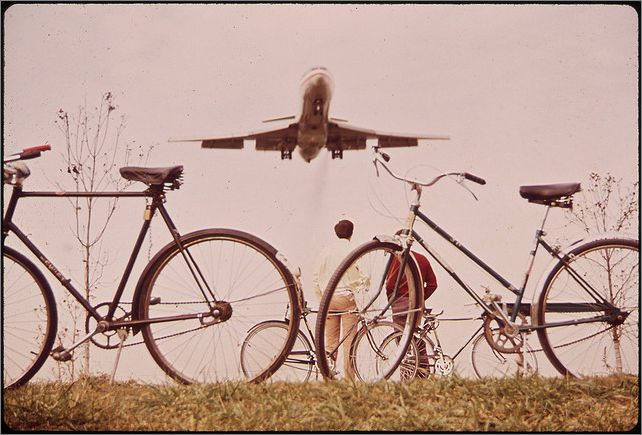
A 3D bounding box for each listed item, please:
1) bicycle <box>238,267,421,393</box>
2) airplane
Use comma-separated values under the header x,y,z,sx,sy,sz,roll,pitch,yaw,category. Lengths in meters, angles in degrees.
x,y,z,sx,sy,sz,roll,pitch,yaw,category
0.047,1.078,9.075,1.958,1.293,1.011,2,-7,-6,bicycle
-0.073,-1.511,16.676,2.792,1.079,2.895,0,-19,-5,airplane
